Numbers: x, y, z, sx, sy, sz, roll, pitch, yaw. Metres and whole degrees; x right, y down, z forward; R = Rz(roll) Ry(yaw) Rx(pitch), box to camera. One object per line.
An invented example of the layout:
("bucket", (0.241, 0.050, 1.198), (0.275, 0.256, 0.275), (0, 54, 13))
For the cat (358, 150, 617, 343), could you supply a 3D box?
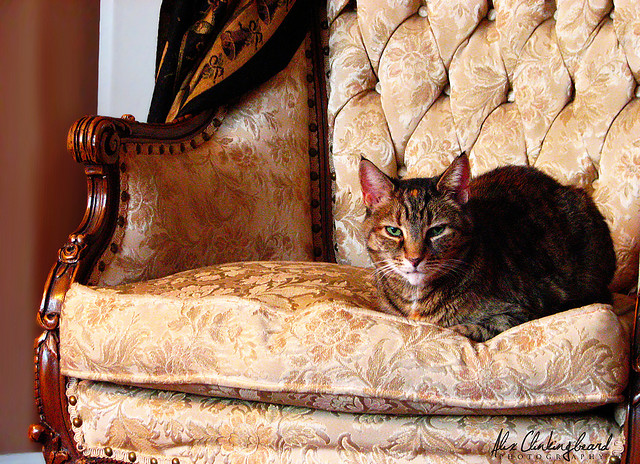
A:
("cat", (0.418, 0.006, 1.567), (0.675, 0.470, 0.487), (-16, 18, -31))
